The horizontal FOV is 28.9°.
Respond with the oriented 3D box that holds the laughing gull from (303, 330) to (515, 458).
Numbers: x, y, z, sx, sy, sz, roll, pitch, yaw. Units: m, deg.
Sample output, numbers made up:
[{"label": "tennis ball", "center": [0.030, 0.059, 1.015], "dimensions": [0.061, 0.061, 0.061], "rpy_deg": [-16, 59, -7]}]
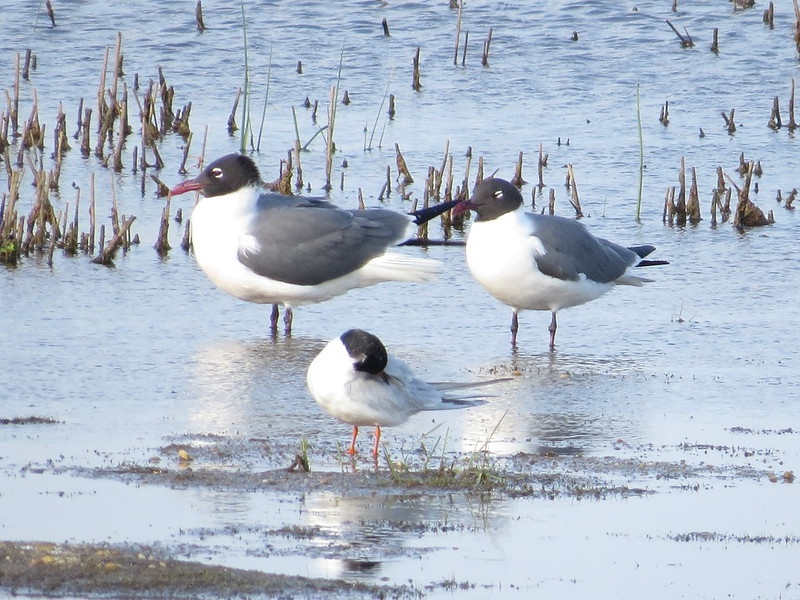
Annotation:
[{"label": "laughing gull", "center": [0.097, 0.871, 15.256], "dimensions": [2.326, 1.105, 0.900], "rpy_deg": [3, 9, -23]}]
